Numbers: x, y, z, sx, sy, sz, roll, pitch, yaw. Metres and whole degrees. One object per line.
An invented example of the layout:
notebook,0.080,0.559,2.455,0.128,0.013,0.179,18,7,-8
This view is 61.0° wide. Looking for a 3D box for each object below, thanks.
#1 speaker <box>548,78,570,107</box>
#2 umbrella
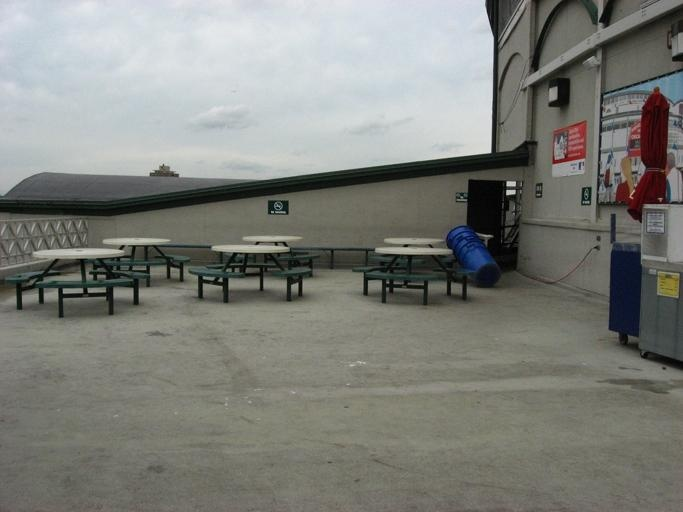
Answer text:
speaker,5.034,-3.827,13.413,0.327,0.667,0.553,1,9,2
umbrella,4.142,-1.386,7.723,0.438,1.732,0.464,5,10,24
